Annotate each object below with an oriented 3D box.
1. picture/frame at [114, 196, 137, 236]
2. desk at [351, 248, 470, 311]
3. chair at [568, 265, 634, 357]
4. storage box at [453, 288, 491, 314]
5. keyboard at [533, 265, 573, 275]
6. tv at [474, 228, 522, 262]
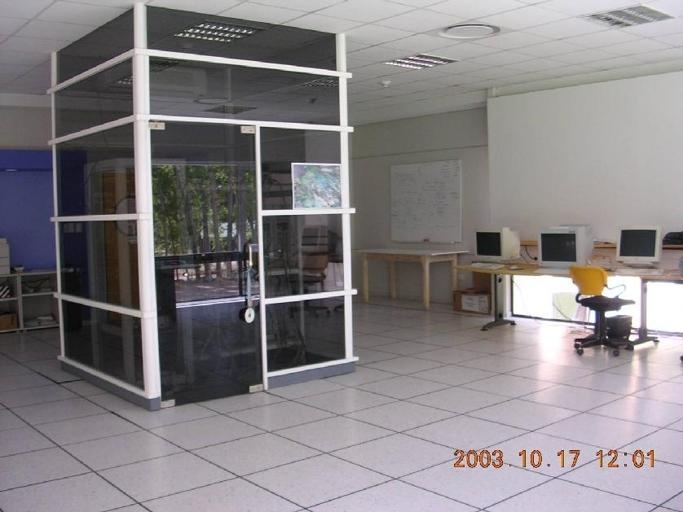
[{"bbox_3d":[-2.118,-0.392,5.220,0.068,0.402,0.425,-7,8,-37],"label":"picture/frame"},{"bbox_3d":[1.331,0.401,10.681,0.949,1.136,2.324,-7,8,-40],"label":"desk"},{"bbox_3d":[3.406,0.683,6.955,0.764,1.107,0.895,1,7,23],"label":"chair"},{"bbox_3d":[2.355,0.826,9.569,0.809,0.375,0.393,7,0,44],"label":"storage box"},{"bbox_3d":[3.037,0.203,7.635,0.448,0.103,0.514,1,6,22],"label":"keyboard"},{"bbox_3d":[2.682,-0.193,8.964,0.656,0.569,0.573,-2,1,-44],"label":"tv"}]
